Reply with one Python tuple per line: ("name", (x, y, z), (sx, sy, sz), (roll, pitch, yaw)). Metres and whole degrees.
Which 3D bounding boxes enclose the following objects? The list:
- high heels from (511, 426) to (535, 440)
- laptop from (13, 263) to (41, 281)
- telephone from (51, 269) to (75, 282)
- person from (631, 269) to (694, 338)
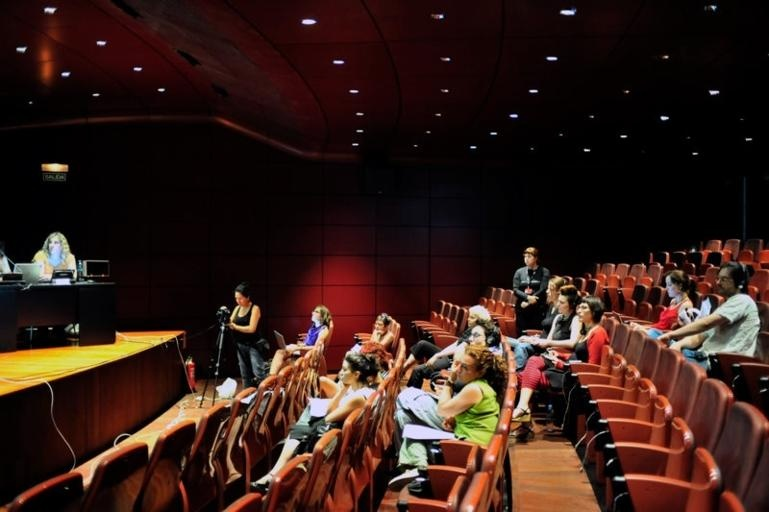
("high heels", (1.378, 1.757, 5.449), (0.275, 0.115, 0.100), (2, -6, -13))
("laptop", (-4.290, 0.191, 6.568), (0.281, 0.283, 0.204), (1, 2, -4))
("telephone", (-3.858, 0.242, 6.566), (0.172, 0.047, 0.191), (1, 8, -3))
("person", (2.953, 0.531, 5.961), (0.709, 0.806, 0.520), (10, 1, 11))
